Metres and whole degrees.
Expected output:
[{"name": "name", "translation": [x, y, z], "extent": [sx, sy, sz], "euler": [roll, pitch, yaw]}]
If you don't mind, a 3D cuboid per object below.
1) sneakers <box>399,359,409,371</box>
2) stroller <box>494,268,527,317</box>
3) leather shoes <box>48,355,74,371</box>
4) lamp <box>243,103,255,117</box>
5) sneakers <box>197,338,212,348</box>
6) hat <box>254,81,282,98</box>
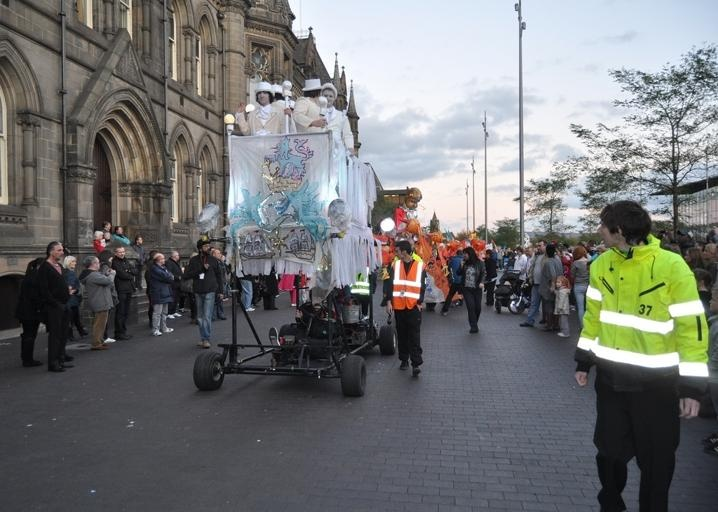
[{"name": "sneakers", "translation": [0.841, 2.060, 12.931], "extent": [0.091, 0.199, 0.285], "euler": [2, 2, 11]}, {"name": "stroller", "translation": [4.900, 1.133, 21.830], "extent": [0.744, 1.166, 1.594], "euler": [2, 3, 33]}, {"name": "leather shoes", "translation": [-5.739, 2.073, 12.883], "extent": [0.134, 0.191, 0.424], "euler": [2, 3, 34]}, {"name": "lamp", "translation": [-1.935, -2.593, 11.909], "extent": [0.078, 0.230, 0.217], "euler": [22, -7, -41]}, {"name": "sneakers", "translation": [-3.545, 1.973, 15.174], "extent": [0.150, 0.202, 0.452], "euler": [2, -9, -28]}, {"name": "hat", "translation": [-1.580, -2.908, 11.781], "extent": [0.273, 0.147, 0.395], "euler": [2, 3, 32]}]
